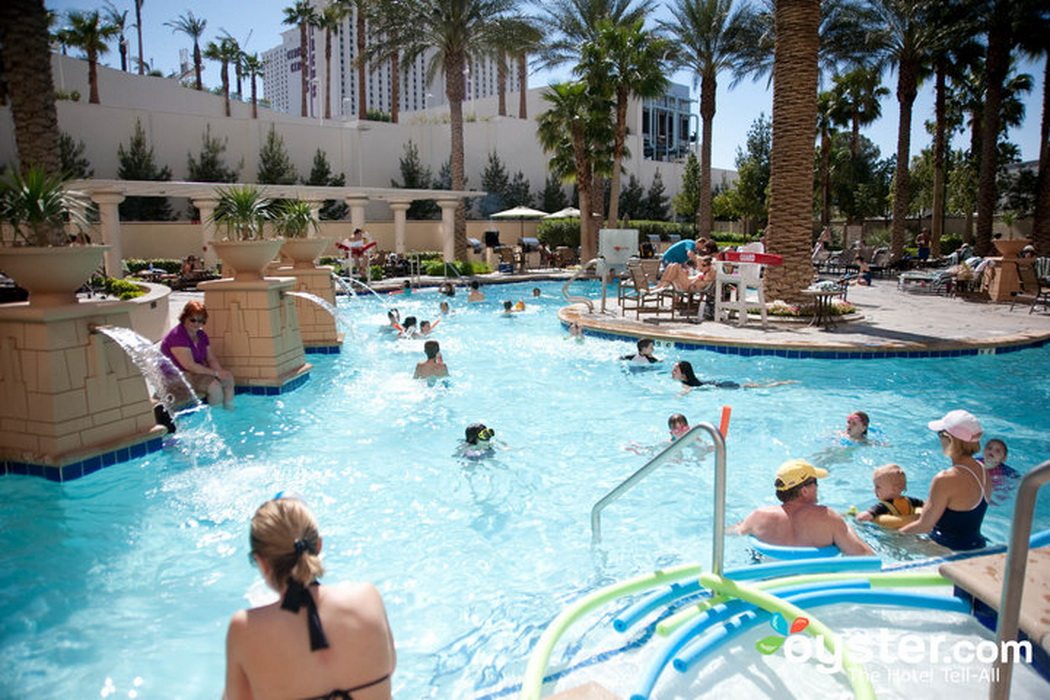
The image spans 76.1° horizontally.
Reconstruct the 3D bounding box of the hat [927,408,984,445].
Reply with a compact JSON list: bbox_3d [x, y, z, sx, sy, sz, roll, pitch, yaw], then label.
[{"bbox_3d":[3.529,0.618,5.587,0.323,0.252,0.448,1,7,-29],"label":"hat"}]

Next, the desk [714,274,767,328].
[{"bbox_3d":[4.438,-1.059,14.095,0.886,0.911,0.895,2,7,21],"label":"desk"}]

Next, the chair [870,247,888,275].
[{"bbox_3d":[13.422,-3.305,25.474,0.630,1.036,1.654,3,10,31],"label":"chair"}]

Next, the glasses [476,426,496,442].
[{"bbox_3d":[-0.475,0.960,7.716,0.136,0.086,0.175,-1,0,-23],"label":"glasses"}]

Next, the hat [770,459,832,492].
[{"bbox_3d":[2.265,0.994,5.492,0.365,0.148,0.231,-9,10,-28],"label":"hat"}]

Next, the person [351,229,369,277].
[{"bbox_3d":[-5.580,-3.265,22.551,0.565,1.609,1.926,-4,9,-14],"label":"person"}]

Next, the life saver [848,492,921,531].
[{"bbox_3d":[3.285,1.435,5.980,0.346,0.094,0.345,-14,3,-17],"label":"life saver"}]

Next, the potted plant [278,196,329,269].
[{"bbox_3d":[-4.282,-2.217,12.808,0.744,1.324,1.738,-5,9,-19],"label":"potted plant"}]

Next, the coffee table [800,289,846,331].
[{"bbox_3d":[5.997,-0.787,13.786,0.853,0.782,0.878,-9,10,-36],"label":"coffee table"}]

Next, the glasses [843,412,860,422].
[{"bbox_3d":[3.912,0.793,7.995,0.148,0.047,0.146,6,3,20],"label":"glasses"}]

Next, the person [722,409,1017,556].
[{"bbox_3d":[3.477,1.077,5.804,1.067,1.224,0.731,1,9,20],"label":"person"}]

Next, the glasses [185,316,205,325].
[{"bbox_3d":[-4.391,-0.378,8.930,0.236,0.113,0.149,-8,10,-36],"label":"glasses"}]

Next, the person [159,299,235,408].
[{"bbox_3d":[-4.440,0.069,9.092,0.424,1.440,0.796,3,10,30],"label":"person"}]

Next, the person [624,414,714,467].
[{"bbox_3d":[1.677,0.962,7.921,0.905,0.623,0.923,6,11,41],"label":"person"}]
